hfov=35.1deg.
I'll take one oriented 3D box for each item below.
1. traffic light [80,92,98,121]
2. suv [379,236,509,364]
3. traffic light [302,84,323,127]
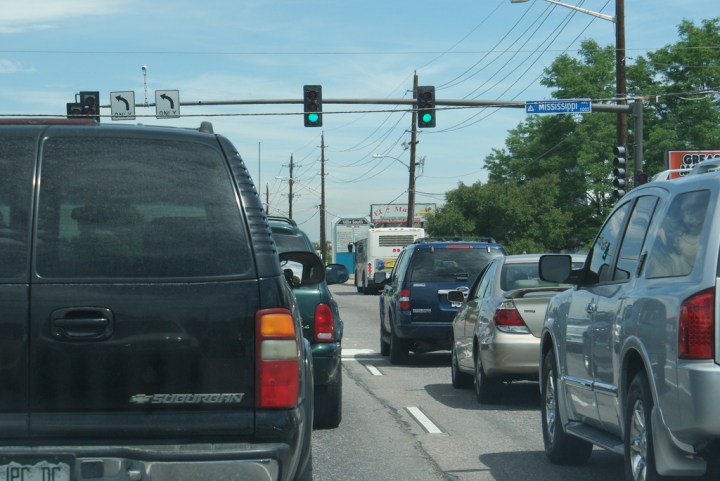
[{"bbox_3d":[-7.502,-3.801,31.297,0.506,0.636,0.716,-1,1,-15],"label":"traffic light"},{"bbox_3d":[1.130,0.809,17.931,1.541,1.063,2.483,0,1,-6],"label":"suv"},{"bbox_3d":[-1.234,-3.509,29.631,0.469,1.050,0.428,-1,2,-6],"label":"traffic light"}]
